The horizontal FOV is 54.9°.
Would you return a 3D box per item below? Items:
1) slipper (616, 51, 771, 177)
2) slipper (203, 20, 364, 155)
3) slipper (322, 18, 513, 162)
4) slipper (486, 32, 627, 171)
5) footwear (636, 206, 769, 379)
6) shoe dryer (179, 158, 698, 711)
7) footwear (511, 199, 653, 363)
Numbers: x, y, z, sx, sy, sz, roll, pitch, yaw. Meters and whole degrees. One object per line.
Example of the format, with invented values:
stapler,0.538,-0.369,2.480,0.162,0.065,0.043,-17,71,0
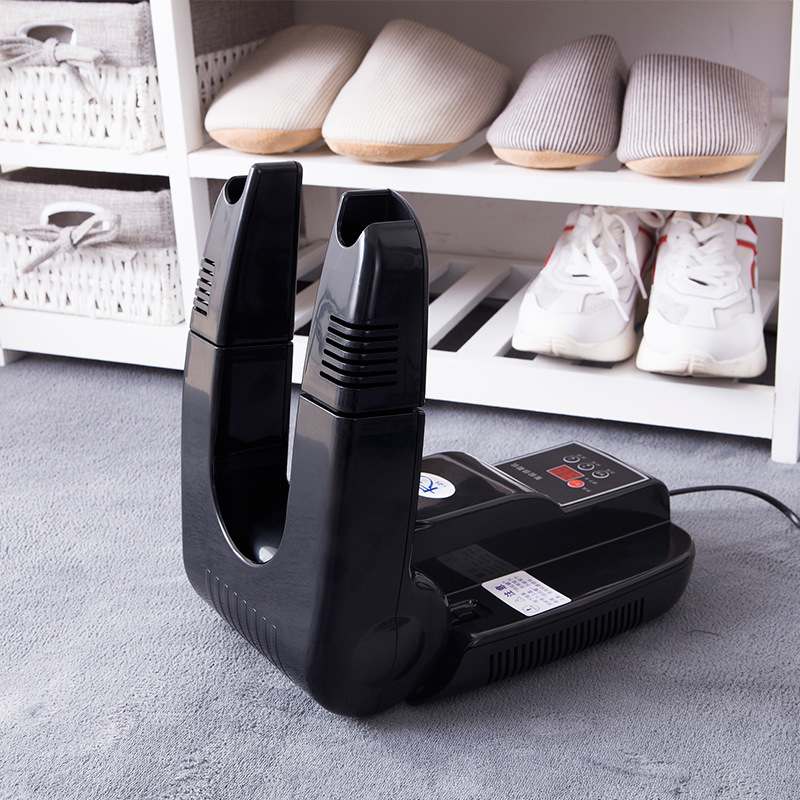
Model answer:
slipper,0.355,-0.335,0.897,0.140,0.113,0.174,-2,19,-27
slipper,-0.134,-0.412,1.070,0.151,0.085,0.241,13,49,28
slipper,0.035,-0.389,1.026,0.164,0.113,0.281,27,44,21
slipper,0.193,-0.377,0.931,0.113,0.086,0.203,28,69,30
footwear,0.354,-0.133,0.918,0.111,0.098,0.248,0,40,14
shoe dryer,0.051,0.013,0.583,0.389,0.335,0.258,-7,20,-27
footwear,0.257,-0.177,1.018,0.142,0.155,0.364,12,32,25
